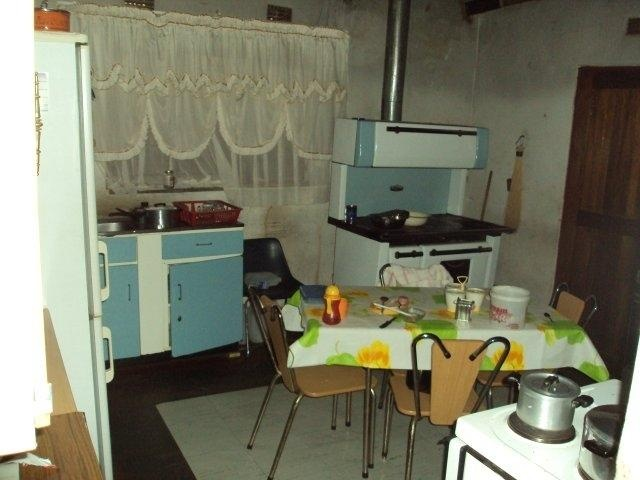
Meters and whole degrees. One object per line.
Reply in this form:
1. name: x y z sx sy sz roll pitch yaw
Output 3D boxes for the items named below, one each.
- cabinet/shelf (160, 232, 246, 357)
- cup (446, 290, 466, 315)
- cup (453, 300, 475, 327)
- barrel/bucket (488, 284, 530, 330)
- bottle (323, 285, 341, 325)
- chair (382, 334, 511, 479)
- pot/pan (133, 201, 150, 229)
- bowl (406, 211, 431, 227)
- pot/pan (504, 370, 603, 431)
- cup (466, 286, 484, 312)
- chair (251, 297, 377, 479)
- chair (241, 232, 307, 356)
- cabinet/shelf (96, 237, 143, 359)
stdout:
1. cabinet/shelf: -0.914 0.357 4.121 0.656 0.903 0.684 -5 6 -32
2. cup: 0.683 0.317 2.771 0.108 0.113 0.114 2 14 0
3. cup: 0.704 0.359 2.663 0.106 0.118 0.119 5 10 8
4. barrel/bucket: 0.927 0.333 2.645 0.185 0.174 0.192 1 11 0
5. bottle: 0.057 0.306 2.621 0.088 0.162 0.198 2 13 0
6. chair: 0.557 0.765 2.600 0.392 0.820 0.535 -5 15 -27
7. pot/pan: -1.289 -0.178 3.810 0.124 0.192 0.211 -3 16 -26
8. bowl: 0.805 -0.177 4.481 0.171 0.104 0.254 5 14 15
9. pot/pan: 0.639 0.450 1.506 0.160 0.133 0.250 -7 15 -42
10. cup: 0.818 0.310 2.837 0.093 0.110 0.114 6 17 15
11. chair: -0.166 0.661 3.140 0.848 1.273 0.730 -2 8 -11
12. chair: -0.380 0.451 4.500 0.561 0.784 0.605 -12 -14 3
13. cabinet/shelf: -1.336 0.409 3.586 0.253 0.893 0.098 -6 16 -28
